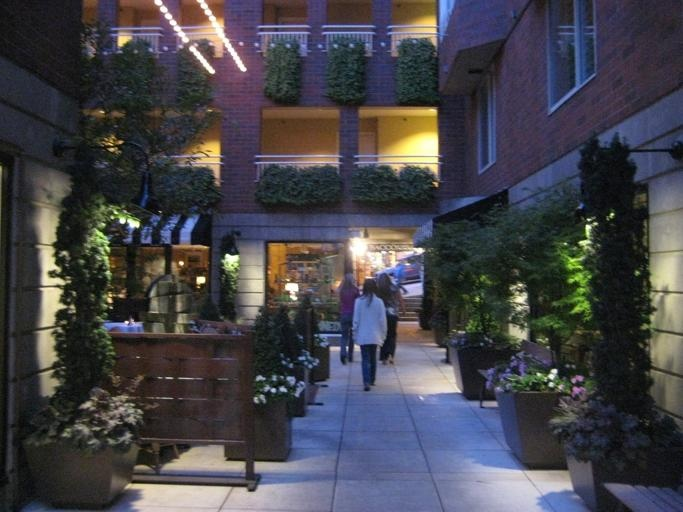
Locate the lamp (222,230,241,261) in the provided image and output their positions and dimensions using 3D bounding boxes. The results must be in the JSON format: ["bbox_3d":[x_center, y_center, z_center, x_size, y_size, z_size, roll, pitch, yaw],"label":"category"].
[{"bbox_3d":[-2.816,-0.301,20.148,0.363,0.702,0.620,6,7,39],"label":"lamp"}]

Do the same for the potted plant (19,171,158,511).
[{"bbox_3d":[-2.641,0.861,8.133,1.127,3.361,0.932,1,6,-2],"label":"potted plant"}]

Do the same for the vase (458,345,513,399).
[{"bbox_3d":[2.106,1.774,11.879,1.089,0.773,0.817,0,-11,0],"label":"vase"}]

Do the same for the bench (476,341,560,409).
[{"bbox_3d":[2.223,1.250,9.653,0.902,0.767,1.247,-1,1,-1],"label":"bench"}]

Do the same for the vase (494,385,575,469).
[{"bbox_3d":[2.170,1.958,8.961,1.157,0.791,0.798,1,-8,-9],"label":"vase"}]

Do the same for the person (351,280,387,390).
[{"bbox_3d":[0.464,1.254,12.679,0.520,1.781,0.609,2,6,1],"label":"person"}]

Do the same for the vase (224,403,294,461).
[{"bbox_3d":[-0.814,2.034,9.171,1.035,0.815,0.655,0,-6,3],"label":"vase"}]

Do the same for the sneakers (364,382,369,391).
[{"bbox_3d":[0.426,2.087,12.557,0.089,0.111,0.188,2,5,2],"label":"sneakers"}]
